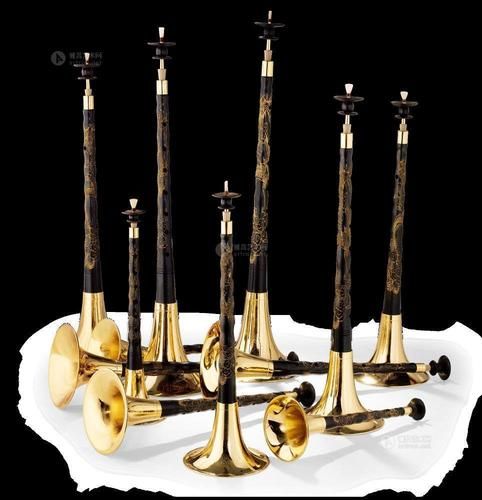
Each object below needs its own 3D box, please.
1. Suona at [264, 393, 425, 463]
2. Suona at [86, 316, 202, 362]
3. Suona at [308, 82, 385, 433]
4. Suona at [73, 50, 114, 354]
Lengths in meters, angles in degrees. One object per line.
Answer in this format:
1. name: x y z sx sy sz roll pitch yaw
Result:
1. Suona: 0.514 0.791 4.123 0.903 0.367 0.287 -1 -6 -40
2. Suona: -0.487 0.566 4.722 0.603 0.347 0.305 1 -3 9
3. Suona: 0.480 0.016 3.983 0.286 1.593 0.263 -2 12 -12
4. Suona: -0.902 -0.279 4.927 0.172 1.733 0.231 -4 12 -22
